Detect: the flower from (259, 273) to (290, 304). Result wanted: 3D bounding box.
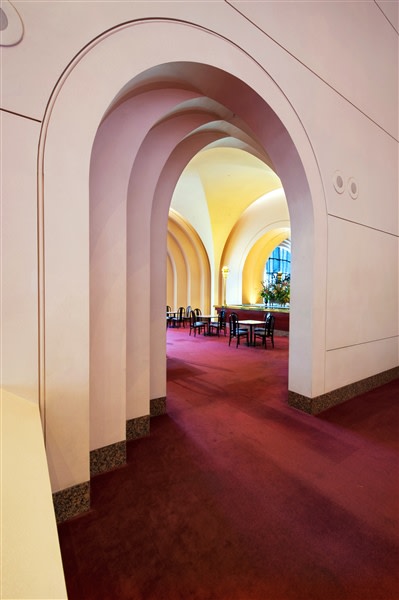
[{"bbox_3d":[3.259,-0.435,15.034,1.089,1.740,1.062,10,4,-3],"label":"flower"}]
